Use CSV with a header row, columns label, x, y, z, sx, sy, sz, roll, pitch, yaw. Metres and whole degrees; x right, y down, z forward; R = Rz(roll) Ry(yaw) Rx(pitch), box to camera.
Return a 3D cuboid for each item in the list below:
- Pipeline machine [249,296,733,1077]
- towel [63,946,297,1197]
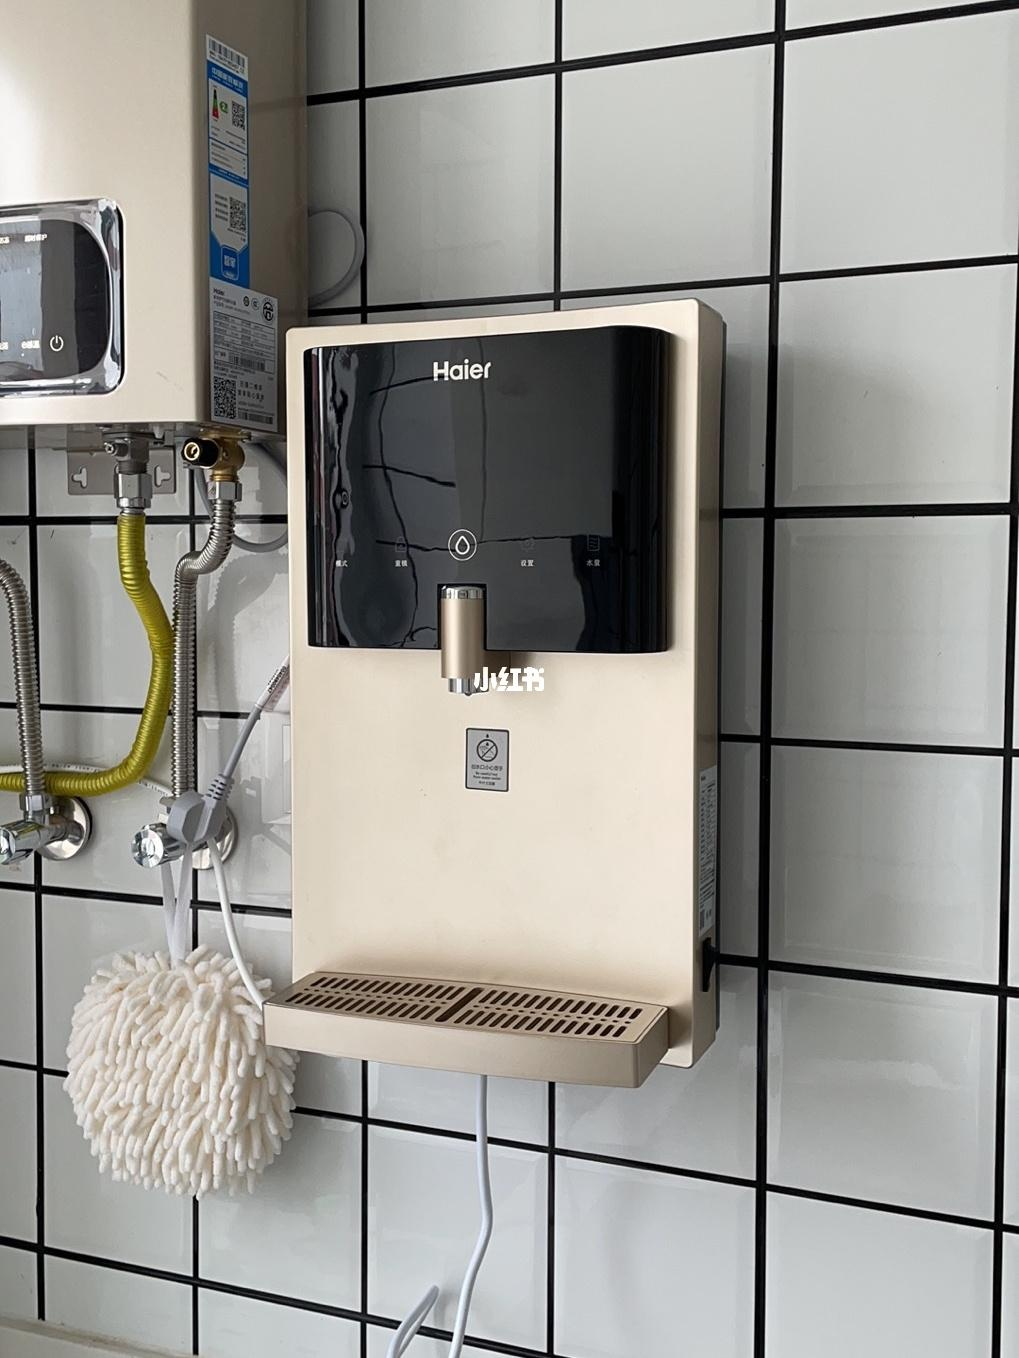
label,x,y,z,sx,sy,sz,roll,pitch,yaw
Pipeline machine,-0.021,0.013,0.789,0.264,0.273,0.543,4,-60,10
towel,-0.254,0.301,0.958,0.141,0.214,0.102,3,-2,5
